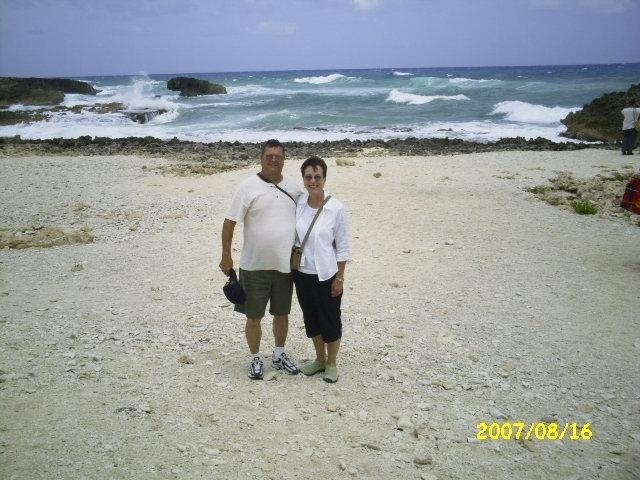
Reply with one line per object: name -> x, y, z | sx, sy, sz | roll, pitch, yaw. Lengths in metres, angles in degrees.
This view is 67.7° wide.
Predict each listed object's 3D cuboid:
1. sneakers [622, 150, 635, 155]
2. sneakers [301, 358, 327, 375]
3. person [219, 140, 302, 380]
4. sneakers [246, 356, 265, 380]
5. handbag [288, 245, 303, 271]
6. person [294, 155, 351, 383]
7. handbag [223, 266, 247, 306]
sneakers -> 11.037, -3.113, 17.128 | 0.401, 0.236, 0.125 | 3, 8, 14
sneakers -> -0.076, 1.431, 5.375 | 0.276, 0.102, 0.141 | 3, 5, -7
person -> -0.591, 0.266, 5.080 | 0.907, 2.546, 0.704 | -12, 24, -26
sneakers -> -0.705, 1.408, 5.199 | 0.133, 0.131, 0.296 | 0, 6, -12
handbag -> -0.261, 0.178, 4.920 | 0.150, 0.250, 0.206 | 7, 14, -10
person -> -0.007, 0.355, 5.052 | 0.575, 2.399, 0.605 | 4, 22, 15
handbag -> -0.911, 0.512, 5.018 | 0.207, 0.451, 0.245 | -6, 21, -12
